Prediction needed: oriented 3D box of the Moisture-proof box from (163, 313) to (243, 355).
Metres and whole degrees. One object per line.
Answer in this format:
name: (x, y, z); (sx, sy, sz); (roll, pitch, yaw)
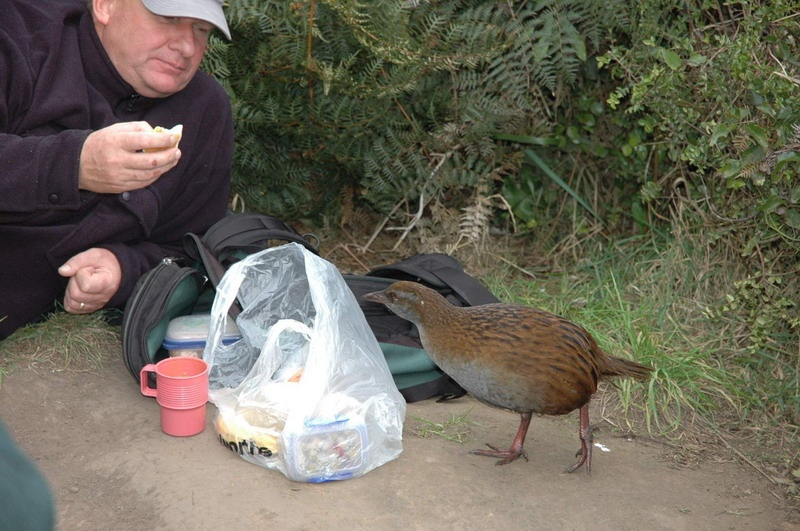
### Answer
Moisture-proof box: (-1.286, 0.435, 4.397); (0.361, 0.141, 0.298); (-3, 19, -14)

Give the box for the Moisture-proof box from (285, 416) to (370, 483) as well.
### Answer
Moisture-proof box: (-0.391, 0.995, 3.724); (0.416, 0.253, 0.216); (-2, 34, -26)

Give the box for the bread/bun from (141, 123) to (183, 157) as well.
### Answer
bread/bun: (-1.391, -0.755, 4.127); (0.156, 0.154, 0.247); (30, 34, 24)

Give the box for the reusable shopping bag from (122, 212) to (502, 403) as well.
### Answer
reusable shopping bag: (-0.674, 0.251, 4.652); (1.885, 0.663, 1.432); (20, 24, -21)

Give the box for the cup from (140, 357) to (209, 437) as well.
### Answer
cup: (-1.327, 0.776, 4.043); (0.422, 0.369, 0.280); (5, 16, 10)
